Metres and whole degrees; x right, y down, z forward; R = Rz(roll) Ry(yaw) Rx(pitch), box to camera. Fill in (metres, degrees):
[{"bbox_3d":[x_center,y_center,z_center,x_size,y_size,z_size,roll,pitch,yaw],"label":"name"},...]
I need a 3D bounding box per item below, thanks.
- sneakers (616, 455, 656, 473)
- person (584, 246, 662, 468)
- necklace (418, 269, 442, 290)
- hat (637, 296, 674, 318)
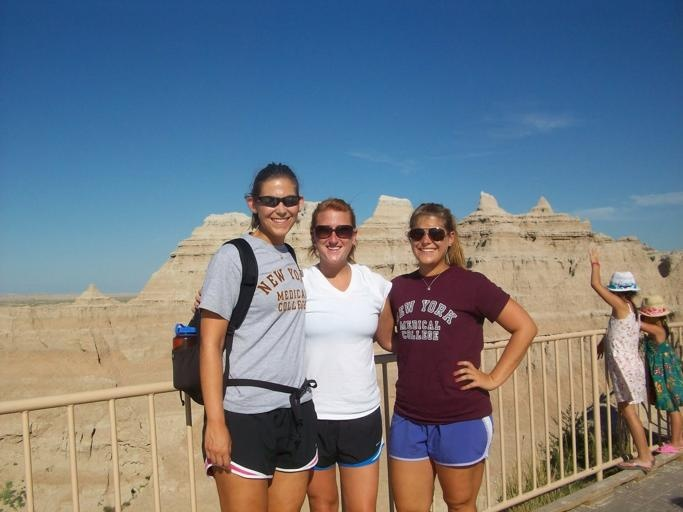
[{"bbox_3d":[3.264,2.293,5.698,0.304,0.098,0.177,2,-10,13],"label":"sneakers"},{"bbox_3d":[3.221,1.127,5.904,0.481,2.483,0.471,-5,-7,20],"label":"person"},{"bbox_3d":[0.715,0.197,4.191,0.123,0.166,0.071,-2,-27,5],"label":"necklace"},{"bbox_3d":[3.784,0.614,6.228,0.310,0.200,0.375,-6,4,35],"label":"hat"}]
